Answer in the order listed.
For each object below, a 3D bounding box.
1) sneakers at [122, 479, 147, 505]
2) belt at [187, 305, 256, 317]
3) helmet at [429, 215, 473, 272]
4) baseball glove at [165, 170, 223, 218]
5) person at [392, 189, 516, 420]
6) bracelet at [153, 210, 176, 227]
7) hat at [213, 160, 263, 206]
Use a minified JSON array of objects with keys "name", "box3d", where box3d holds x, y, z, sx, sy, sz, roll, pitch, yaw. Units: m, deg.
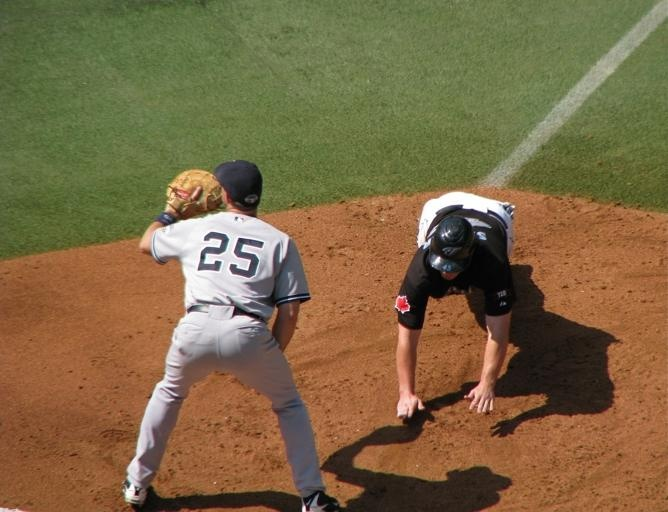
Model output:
[{"name":"sneakers","box3d":[-1.471,1.766,6.455,0.135,0.133,0.241,23,27,-13]},{"name":"belt","box3d":[-0.800,0.380,6.155,0.207,0.183,0.066,0,84,31]},{"name":"helmet","box3d":[0.889,-0.078,6.582,0.320,0.220,0.401,15,76,13]},{"name":"baseball glove","box3d":[-1.049,-0.456,6.724,0.550,0.386,0.392,0,88,-13]},{"name":"person","box3d":[0.995,0.195,6.772,0.818,0.955,2.040,12,53,9]},{"name":"bracelet","box3d":[-1.254,-0.277,6.554,0.125,0.086,0.121,9,22,-46]},{"name":"hat","box3d":[-0.673,-0.562,6.354,0.290,0.194,0.356,-7,58,-36]}]
